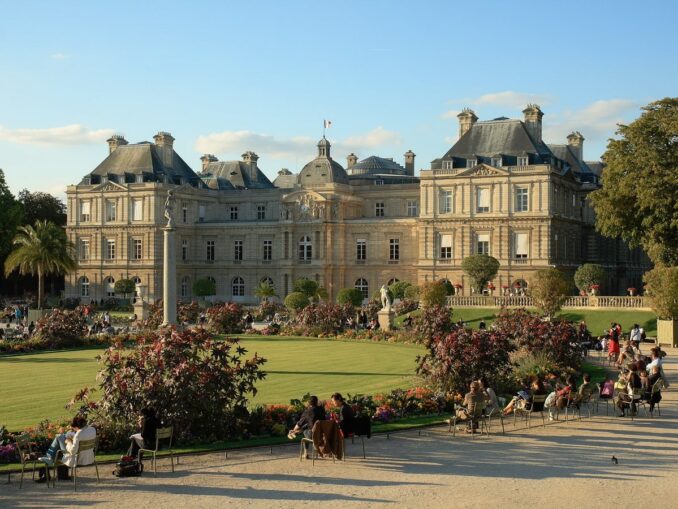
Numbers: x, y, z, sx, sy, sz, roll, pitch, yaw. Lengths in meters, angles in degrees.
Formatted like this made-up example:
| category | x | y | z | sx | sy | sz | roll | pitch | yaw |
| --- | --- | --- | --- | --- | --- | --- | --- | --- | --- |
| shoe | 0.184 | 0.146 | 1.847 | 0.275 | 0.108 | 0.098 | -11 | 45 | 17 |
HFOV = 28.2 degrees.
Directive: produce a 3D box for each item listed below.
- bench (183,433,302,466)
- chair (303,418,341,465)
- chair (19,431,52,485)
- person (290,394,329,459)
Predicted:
| category | x | y | z | sx | sy | sz | roll | pitch | yaw |
| --- | --- | --- | --- | --- | --- | --- | --- | --- | --- |
| bench | -3.622 | 6.797 | 47.556 | 4.247 | 0.685 | 1.292 | 0 | -5 | -24 |
| chair | -0.594 | 6.340 | 46.889 | 1.101 | 1.412 | 1.312 | -5 | -4 | 40 |
| chair | -10.021 | 6.787 | 45.317 | 1.068 | 1.738 | 0.970 | -5 | 3 | 7 |
| person | -0.900 | 5.969 | 47.257 | 1.327 | 2.196 | 1.033 | -5 | -6 | 31 |
